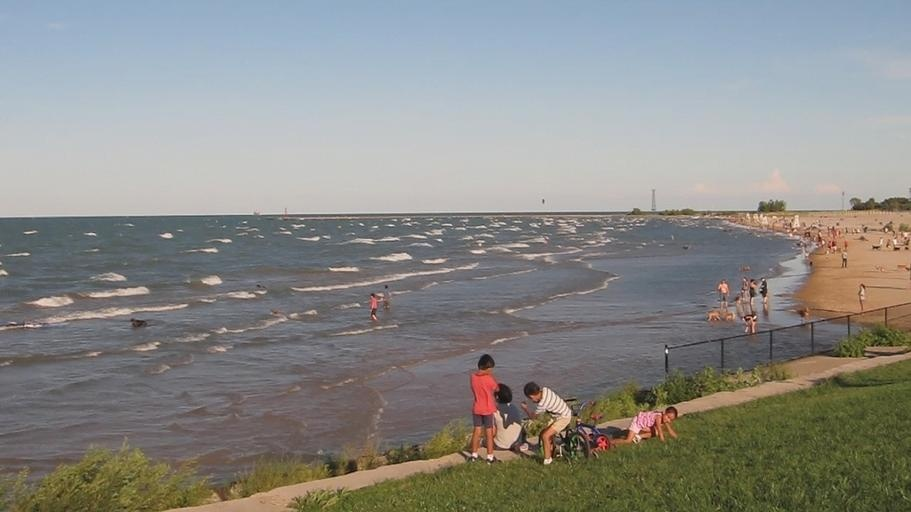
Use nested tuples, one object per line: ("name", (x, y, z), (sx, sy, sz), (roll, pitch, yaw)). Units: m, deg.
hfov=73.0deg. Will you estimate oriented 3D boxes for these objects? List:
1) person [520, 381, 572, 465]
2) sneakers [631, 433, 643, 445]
("person", (2.991, 5.170, 19.531), (1.395, 2.563, 0.962), (-8, 5, 4))
("sneakers", (5.964, 5.973, 20.245), (0.167, 0.143, 0.466), (-17, 5, 34))
